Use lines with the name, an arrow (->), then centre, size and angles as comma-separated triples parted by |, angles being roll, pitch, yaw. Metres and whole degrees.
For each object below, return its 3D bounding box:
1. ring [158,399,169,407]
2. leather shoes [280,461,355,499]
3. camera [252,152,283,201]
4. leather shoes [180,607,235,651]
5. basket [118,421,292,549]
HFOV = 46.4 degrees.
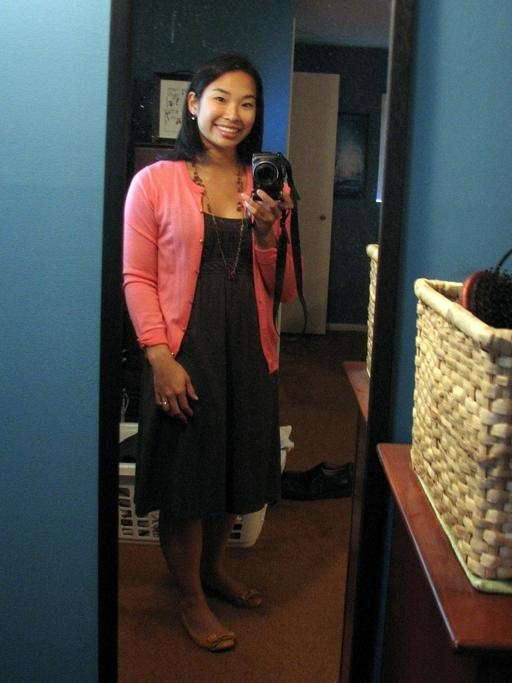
ring -> -0.156, 0.104, 1.004 | 0.011, 0.014, 0.014 | 2, 10, 4
leather shoes -> 0.108, 0.246, 1.058 | 0.121, 0.039, 0.067 | -5, 17, 11
camera -> 0.016, -0.257, 0.939 | 0.059, 0.070, 0.054 | 5, 12, 16
leather shoes -> -0.104, 0.502, 1.092 | 0.045, 0.051, 0.132 | -20, 14, -37
basket -> -0.084, 0.248, 1.058 | 0.291, 0.126, 0.200 | 1, -4, -3
